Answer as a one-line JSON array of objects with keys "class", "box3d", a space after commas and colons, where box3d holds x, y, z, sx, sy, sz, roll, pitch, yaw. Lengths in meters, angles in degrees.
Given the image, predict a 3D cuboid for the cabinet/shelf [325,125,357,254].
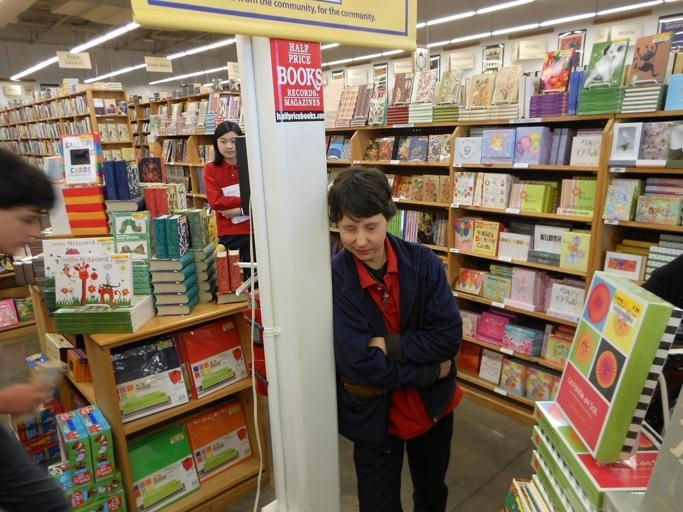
[{"class": "cabinet/shelf", "box3d": [-0.008, -0.819, 5.350, 0.173, 1.259, 0.554, 17, 51, -8]}]
